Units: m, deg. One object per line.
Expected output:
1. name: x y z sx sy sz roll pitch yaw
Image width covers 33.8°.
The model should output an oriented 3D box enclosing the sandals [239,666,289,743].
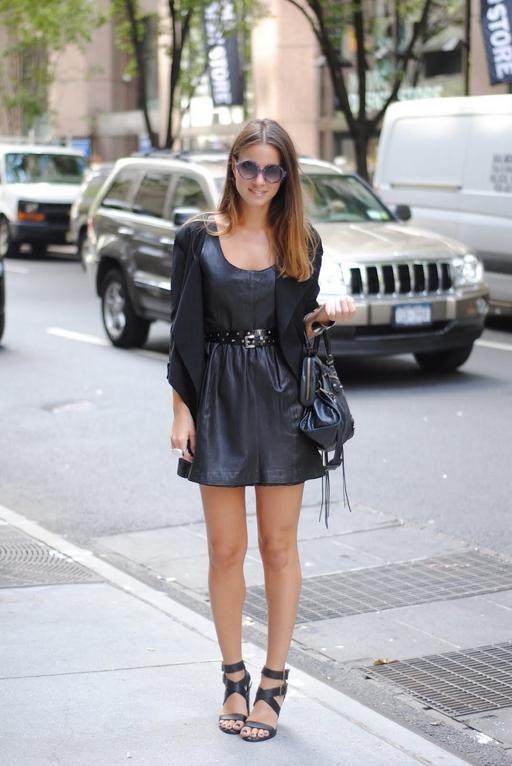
1. sandals: 0.022 0.799 2.092 0.064 0.076 0.198 4 14 12

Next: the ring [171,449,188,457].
1. ring: -0.193 0.175 2.131 0.022 0.012 0.029 12 -1 -35

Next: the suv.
1. suv: -0.020 -1.335 9.063 2.150 1.871 4.631 -8 13 -42

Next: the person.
1. person: -0.002 0.104 2.123 0.467 1.540 0.361 4 5 -6

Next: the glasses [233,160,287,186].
1. glasses: 0.019 -0.526 2.121 0.134 0.056 0.083 3 5 -9
